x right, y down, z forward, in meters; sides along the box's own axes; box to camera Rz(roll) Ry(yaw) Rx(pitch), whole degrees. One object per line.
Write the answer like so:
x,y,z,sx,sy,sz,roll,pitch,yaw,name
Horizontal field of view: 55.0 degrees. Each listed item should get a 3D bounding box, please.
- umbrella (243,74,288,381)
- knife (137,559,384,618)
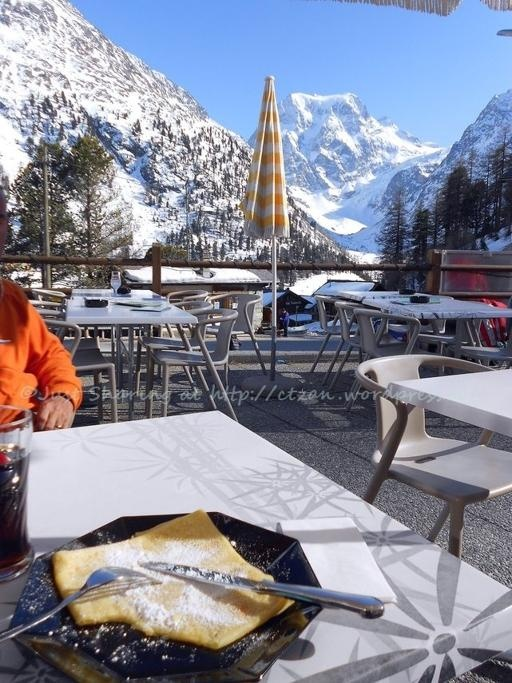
0.055,-1.038,4.147,0.372,2.151,0.424,-1,12,-14,umbrella
-0.002,0.197,0.389,0.161,0.014,0.024,5,6,13,knife
